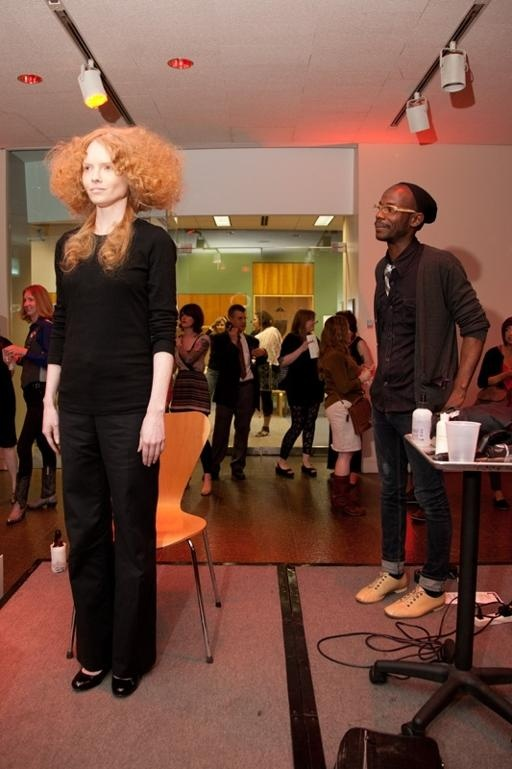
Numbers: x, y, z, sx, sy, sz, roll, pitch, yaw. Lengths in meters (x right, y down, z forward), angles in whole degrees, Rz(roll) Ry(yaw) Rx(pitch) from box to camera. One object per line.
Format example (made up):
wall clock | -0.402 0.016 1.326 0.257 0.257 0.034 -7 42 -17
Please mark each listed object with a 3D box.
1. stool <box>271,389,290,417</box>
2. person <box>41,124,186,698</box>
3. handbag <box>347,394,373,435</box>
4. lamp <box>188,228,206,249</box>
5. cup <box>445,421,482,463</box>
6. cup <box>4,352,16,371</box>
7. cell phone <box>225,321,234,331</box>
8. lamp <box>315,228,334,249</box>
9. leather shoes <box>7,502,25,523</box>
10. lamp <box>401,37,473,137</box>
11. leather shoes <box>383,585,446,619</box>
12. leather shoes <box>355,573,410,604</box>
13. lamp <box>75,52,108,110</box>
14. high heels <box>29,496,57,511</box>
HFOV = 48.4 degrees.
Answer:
stool | 0.244 0.163 5.703 0.315 0.297 0.181 0 0 -1
person | -0.437 0.064 1.699 0.421 1.697 0.314 0 1 1
handbag | 0.715 0.202 3.944 0.088 0.282 0.300 -9 6 41
lamp | -0.583 -1.475 5.727 0.175 0.292 0.162 -1 24 -7
cup | 0.518 0.150 1.486 0.098 0.099 0.095 3 -1 0
cup | -1.710 -0.171 3.962 0.043 0.113 0.083 -4 23 -6
cell phone | -0.222 -0.503 4.938 0.078 0.075 0.081 -6 -9 23
lamp | 0.682 -1.429 5.583 0.174 0.163 0.039 0 1 34
leather shoes | -1.539 0.822 3.654 0.092 0.112 0.182 -1 1 -21
lamp | 1.134 -1.835 3.552 0.219 0.279 0.497 2 -7 -5
leather shoes | 0.620 0.863 2.279 0.264 0.105 0.093 -8 3 -16
leather shoes | 0.532 0.865 2.455 0.254 0.103 0.087 -6 -3 -29
lamp | -1.007 -1.878 3.506 0.128 0.291 0.109 -9 -10 -21
high heels | -1.501 0.823 3.962 0.213 0.106 0.068 1 -1 -10
